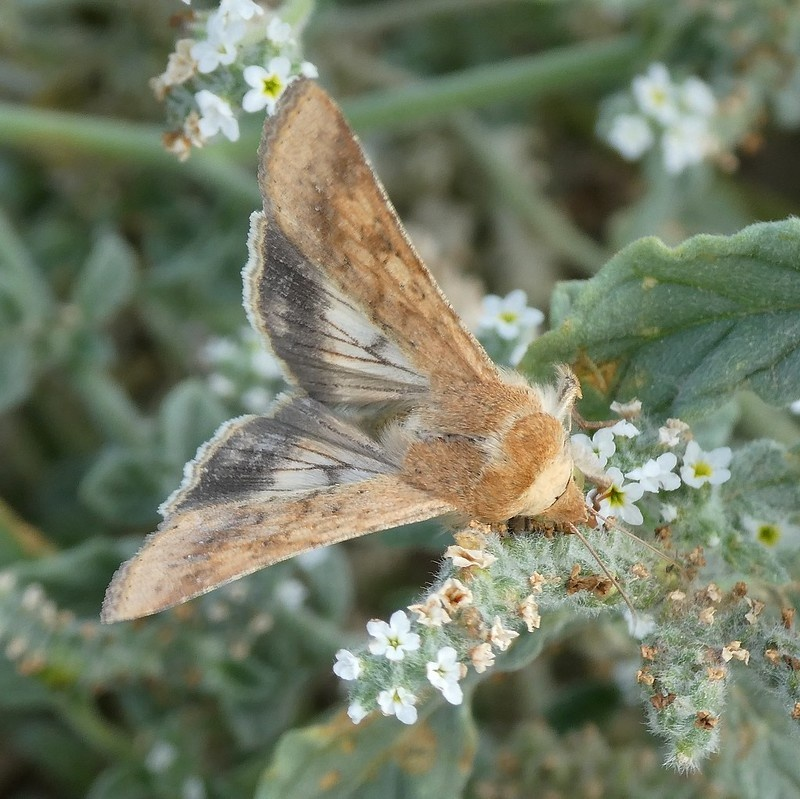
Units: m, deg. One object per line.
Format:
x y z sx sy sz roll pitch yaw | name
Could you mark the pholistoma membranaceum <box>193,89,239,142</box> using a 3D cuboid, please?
-0.446 -0.710 2.697 0.153 0.039 0.109 -2 -66 18 | pholistoma membranaceum
